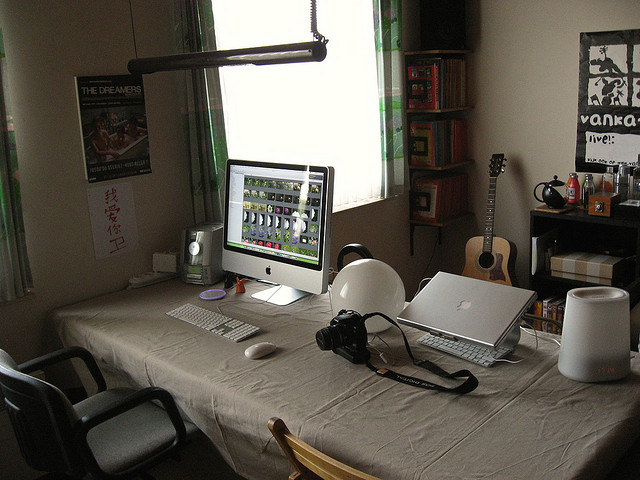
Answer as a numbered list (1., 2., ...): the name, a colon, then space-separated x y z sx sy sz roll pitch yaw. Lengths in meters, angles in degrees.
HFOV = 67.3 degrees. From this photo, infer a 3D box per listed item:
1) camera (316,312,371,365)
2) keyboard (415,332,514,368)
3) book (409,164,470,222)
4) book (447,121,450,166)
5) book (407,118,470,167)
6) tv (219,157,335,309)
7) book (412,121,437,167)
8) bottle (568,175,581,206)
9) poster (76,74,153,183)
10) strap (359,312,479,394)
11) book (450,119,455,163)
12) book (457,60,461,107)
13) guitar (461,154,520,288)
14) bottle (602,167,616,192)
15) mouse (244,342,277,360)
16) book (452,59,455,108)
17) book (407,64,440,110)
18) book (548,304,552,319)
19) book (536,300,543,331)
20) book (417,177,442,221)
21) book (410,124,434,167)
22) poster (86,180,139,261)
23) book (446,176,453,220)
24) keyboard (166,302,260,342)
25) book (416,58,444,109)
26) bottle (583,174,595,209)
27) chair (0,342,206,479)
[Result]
1. camera: 0.098 0.365 1.800 0.174 0.174 0.193 -1 7 32
2. keyboard: 0.527 0.398 1.814 0.336 0.036 0.160 7 18 37
3. book: 0.960 -0.356 3.976 0.478 0.347 0.245 -19 24 -41
4. book: 1.012 -0.769 3.810 0.033 0.325 0.016 -14 18 -39
5. book: 0.907 -0.795 3.916 0.247 0.400 0.428 -15 20 -28
6. tv: -0.183 -0.047 2.354 0.636 0.674 0.223 10 16 37
7. book: 0.824 -0.747 3.770 0.208 0.345 0.054 9 18 40
8. bottle: 1.837 -0.358 3.450 0.148 0.225 0.061 -12 16 -33
9. poster: -1.054 -0.572 2.435 0.454 0.649 0.069 -12 17 -35
10. strap: 0.365 0.394 1.604 0.185 0.074 0.338 -13 22 -28
11. book: 1.047 -0.778 3.827 0.055 0.327 0.020 -12 16 -33
12. book: 1.084 -1.219 3.764 0.014 0.341 0.044 10 19 42
13. guitar: 1.327 -0.141 3.606 0.356 0.882 0.380 -15 18 -40
14. bottle: 2.007 -0.421 3.352 0.076 0.159 0.145 4 15 26
15. mouse: -0.233 0.416 1.847 0.055 0.031 0.093 8 12 42
16. book: 1.026 -1.205 3.720 0.016 0.347 0.042 2 15 21
17. book: 0.790 -1.164 3.659 0.320 0.427 0.048 7 15 37
18. book: 1.652 0.514 3.472 0.028 0.115 0.043 4 15 27
19. book: 1.576 0.543 3.461 0.033 0.156 0.270 3 15 25
20. book: 0.881 -0.329 3.867 0.181 0.337 0.074 7 17 37
21. book: 0.799 -0.736 3.759 0.069 0.284 0.302 -8 11 -40
22. poster: -1.071 -0.101 2.501 0.232 0.370 0.025 -15 18 -40
23. book: 1.043 -0.345 3.892 0.056 0.252 0.245 4 3 12
24. keyboard: -0.481 0.355 2.138 0.515 0.044 0.149 7 18 37
25. book: 0.869 -1.175 3.630 0.119 0.371 0.061 -1 14 11
26. bottle: 1.885 -0.341 3.401 0.065 0.225 0.147 6 17 35
27. chair: -0.810 0.669 1.848 0.447 0.493 0.395 21 31 40
